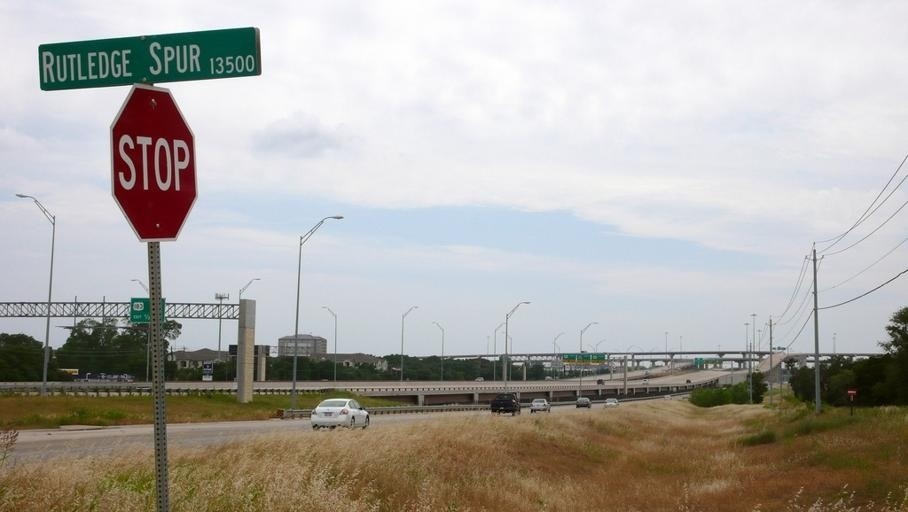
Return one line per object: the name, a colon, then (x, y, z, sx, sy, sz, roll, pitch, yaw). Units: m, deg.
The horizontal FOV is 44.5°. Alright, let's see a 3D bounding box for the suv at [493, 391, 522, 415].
suv: (6.021, 17.190, 130.912, 2.827, 2.597, 4.247, -1, -12, 9)
